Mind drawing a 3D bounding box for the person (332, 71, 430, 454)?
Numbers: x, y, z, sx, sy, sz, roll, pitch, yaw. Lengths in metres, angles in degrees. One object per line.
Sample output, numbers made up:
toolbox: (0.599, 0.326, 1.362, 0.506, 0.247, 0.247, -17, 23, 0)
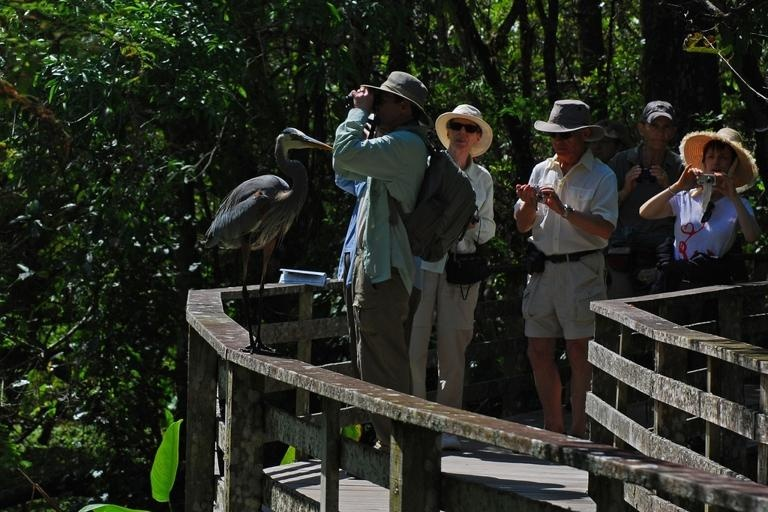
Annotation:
person: (0.021, -0.181, 7.036, 0.730, 2.373, 0.484, -6, 5, -17)

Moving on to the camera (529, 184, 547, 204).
camera: (1.310, -0.527, 7.925, 0.053, 0.093, 0.238, -38, 46, 0)

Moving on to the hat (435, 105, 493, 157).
hat: (0.679, -1.174, 8.323, 0.463, 0.274, 0.500, 13, -15, -23)

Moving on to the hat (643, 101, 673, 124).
hat: (2.570, -1.354, 8.811, 0.281, 0.211, 0.395, -4, 5, 18)

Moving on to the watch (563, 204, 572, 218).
watch: (1.558, -0.388, 7.876, 0.087, 0.086, 0.031, 43, 25, 30)

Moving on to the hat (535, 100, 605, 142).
hat: (1.687, -1.172, 8.244, 0.377, 0.238, 0.475, 14, 5, 33)

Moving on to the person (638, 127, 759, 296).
person: (2.796, -0.413, 8.274, 0.931, 1.353, 0.789, -4, 5, 20)

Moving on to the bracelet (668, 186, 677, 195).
bracelet: (2.455, -0.560, 8.042, 0.072, 0.067, 0.043, -2, 6, 36)

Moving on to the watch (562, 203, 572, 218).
watch: (1.539, -0.385, 7.901, 0.070, 0.121, 0.098, 10, -4, -15)
